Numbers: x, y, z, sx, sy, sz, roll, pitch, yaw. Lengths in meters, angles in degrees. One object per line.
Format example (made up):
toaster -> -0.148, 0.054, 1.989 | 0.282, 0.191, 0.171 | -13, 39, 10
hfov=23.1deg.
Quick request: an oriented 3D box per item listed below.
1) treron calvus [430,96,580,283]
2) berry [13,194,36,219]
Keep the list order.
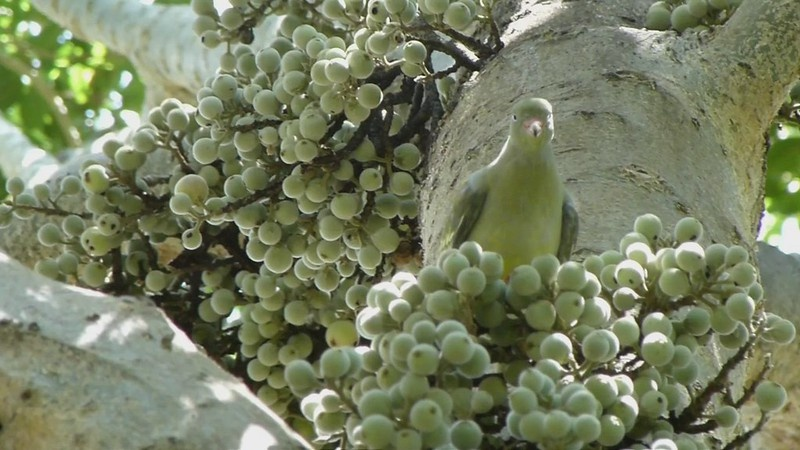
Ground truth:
treron calvus -> 0.840, -0.207, 12.752 | 0.827, 1.101, 0.546 | 25, -23, 2
berry -> -2.585, -0.122, 13.296 | 0.185, 0.171, 0.163 | -1, -20, -16
